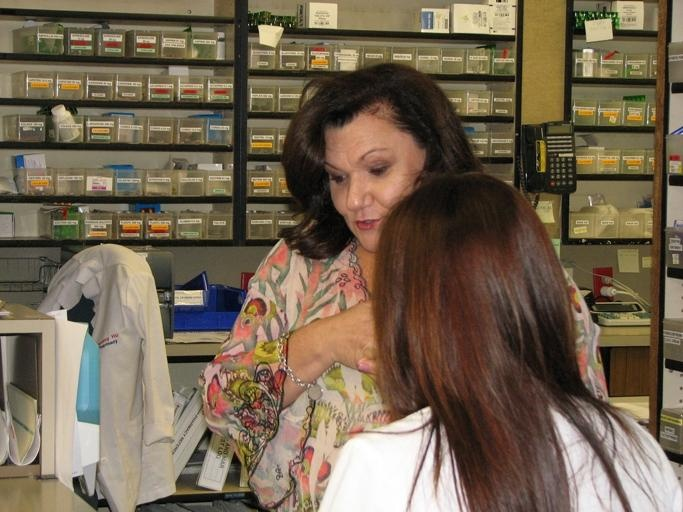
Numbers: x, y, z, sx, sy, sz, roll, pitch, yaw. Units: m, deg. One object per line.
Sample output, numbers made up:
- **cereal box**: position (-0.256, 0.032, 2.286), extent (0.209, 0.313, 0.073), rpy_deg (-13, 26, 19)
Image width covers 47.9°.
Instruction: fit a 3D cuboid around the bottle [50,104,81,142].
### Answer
- **bottle**: position (-1.601, -0.764, 4.456), extent (0.163, 0.220, 0.069), rpy_deg (2, 6, -22)
